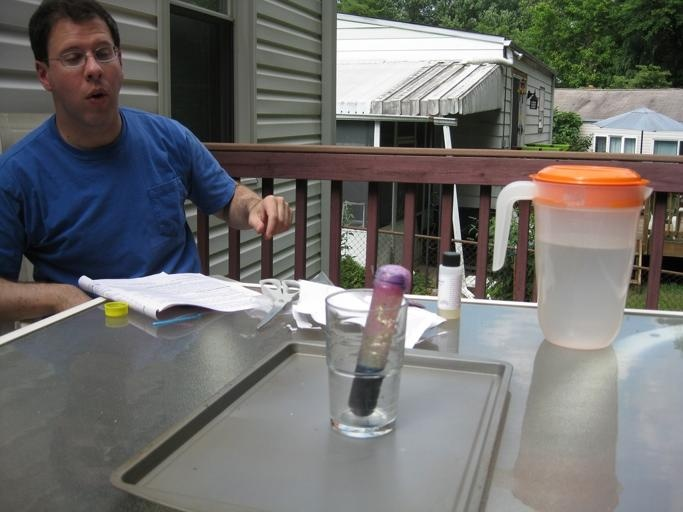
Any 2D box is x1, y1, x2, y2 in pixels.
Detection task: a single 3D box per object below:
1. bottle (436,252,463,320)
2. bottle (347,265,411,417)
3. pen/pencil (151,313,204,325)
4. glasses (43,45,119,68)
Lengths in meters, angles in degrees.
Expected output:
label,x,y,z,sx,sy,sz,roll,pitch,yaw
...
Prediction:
label,x,y,z,sx,sy,sz,roll,pitch,yaw
bottle,0.266,0.079,1.200,0.054,0.166,0.060,11,13,25
bottle,0.051,0.123,0.686,0.083,0.227,0.043,0,12,-3
pen/pencil,-0.400,0.153,1.166,0.119,0.018,0.013,-8,5,-39
glasses,-0.887,-0.691,1.694,0.204,0.088,0.067,-7,14,-31
